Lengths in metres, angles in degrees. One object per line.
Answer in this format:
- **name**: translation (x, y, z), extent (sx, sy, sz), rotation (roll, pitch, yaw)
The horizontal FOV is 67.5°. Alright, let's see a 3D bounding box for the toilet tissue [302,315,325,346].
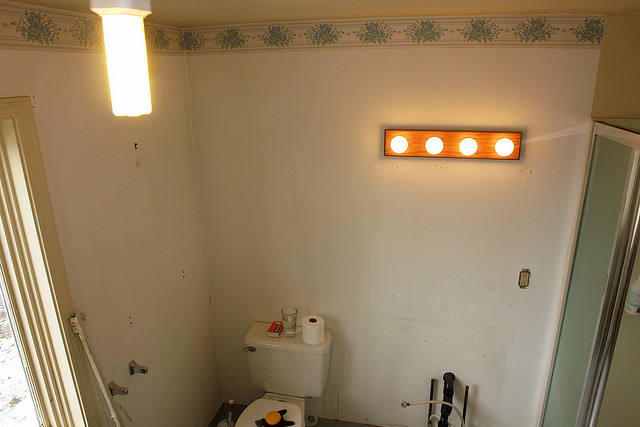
- **toilet tissue**: translation (-0.043, 0.714, 2.962), extent (0.133, 0.143, 0.153), rotation (-6, 20, -12)

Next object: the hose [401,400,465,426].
- **hose**: translation (0.690, 1.191, 2.920), extent (0.374, 0.162, 0.138), rotation (4, 3, 10)

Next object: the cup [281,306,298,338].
- **cup**: translation (-0.184, 0.664, 2.983), extent (0.145, 0.225, 0.147), rotation (0, 14, 0)

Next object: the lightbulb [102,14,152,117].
- **lightbulb**: translation (-0.740, -0.560, 1.828), extent (0.137, 0.360, 0.133), rotation (4, 4, 9)
